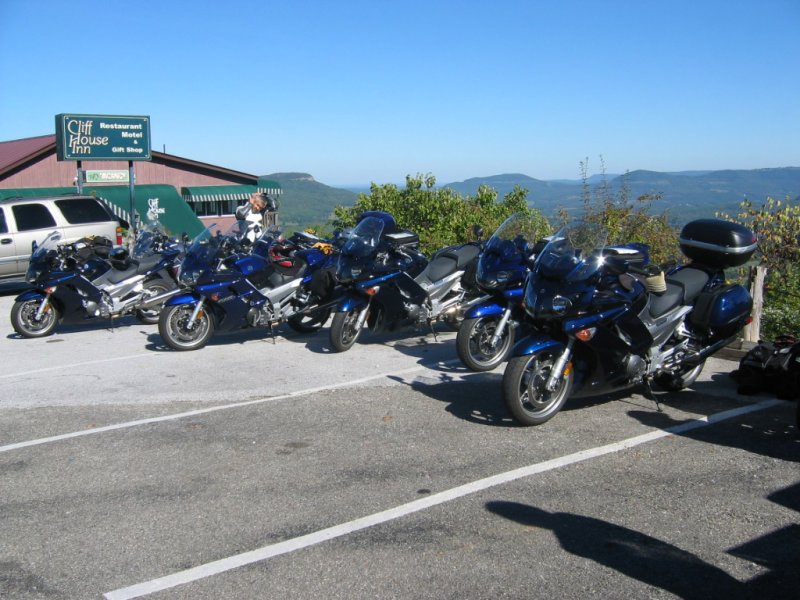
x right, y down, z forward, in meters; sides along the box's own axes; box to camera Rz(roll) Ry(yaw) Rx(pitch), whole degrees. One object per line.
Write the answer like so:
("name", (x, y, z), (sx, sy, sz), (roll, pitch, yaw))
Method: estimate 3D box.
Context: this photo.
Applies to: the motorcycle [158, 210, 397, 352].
("motorcycle", (-1.691, -0.554, 9.332), (4.777, 1.772, 1.722), (-8, 35, -24))
